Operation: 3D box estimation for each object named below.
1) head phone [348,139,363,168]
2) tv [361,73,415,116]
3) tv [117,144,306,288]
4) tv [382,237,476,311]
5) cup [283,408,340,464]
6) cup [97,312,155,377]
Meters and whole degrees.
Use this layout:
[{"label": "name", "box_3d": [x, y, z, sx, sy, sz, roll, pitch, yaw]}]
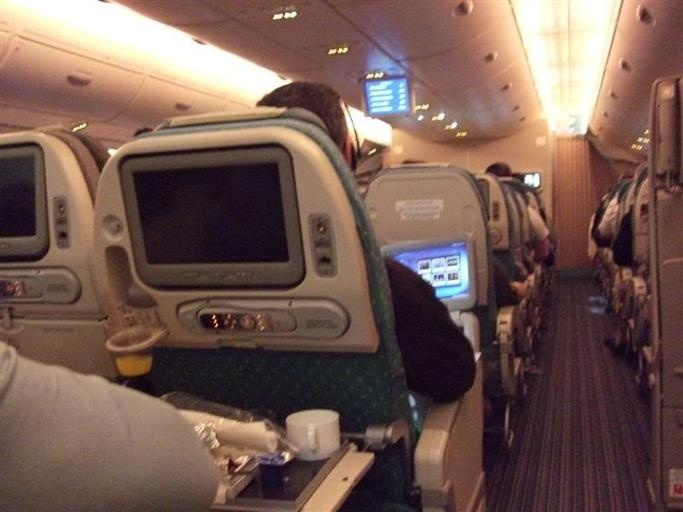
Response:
[{"label": "head phone", "box_3d": [0.037, -0.329, 1.877, 0.059, 0.077, 0.078, 0, 4, -17]}, {"label": "tv", "box_3d": [0.555, -2.064, 7.145, 0.655, 0.579, 0.373, -1, 19, 10]}, {"label": "tv", "box_3d": [-0.333, -0.119, 1.568, 0.385, 0.304, 0.041, -1, 18, 17]}, {"label": "tv", "box_3d": [0.376, 0.064, 2.407, 0.336, 0.259, 0.037, -2, 7, 2]}, {"label": "cup", "box_3d": [-0.074, 0.436, 1.444, 0.091, 0.066, 0.126, 1, 7, 4]}, {"label": "cup", "box_3d": [-0.637, 0.257, 1.749, 0.129, 0.239, 0.103, -2, 5, -2]}]
